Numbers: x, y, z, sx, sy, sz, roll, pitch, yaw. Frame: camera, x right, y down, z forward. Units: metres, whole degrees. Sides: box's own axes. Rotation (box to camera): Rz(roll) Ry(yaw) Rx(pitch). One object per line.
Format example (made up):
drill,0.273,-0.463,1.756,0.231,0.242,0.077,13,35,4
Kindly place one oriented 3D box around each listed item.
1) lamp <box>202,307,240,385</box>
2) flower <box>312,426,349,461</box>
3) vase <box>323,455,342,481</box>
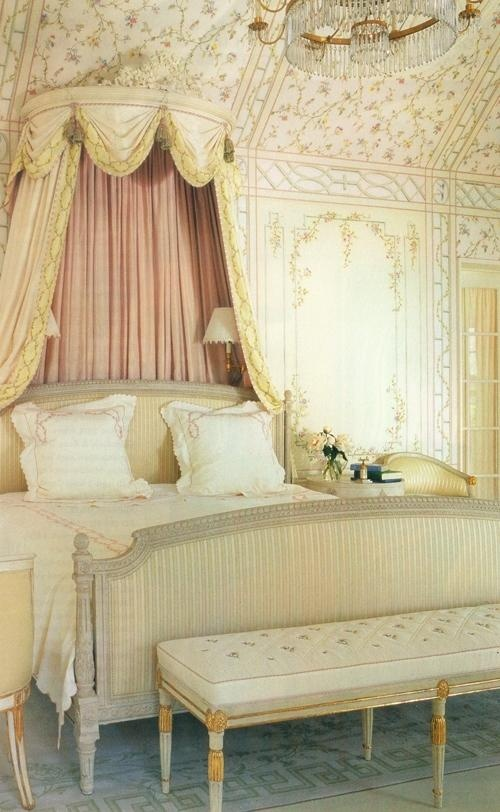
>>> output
lamp,-0.165,-0.356,4.652,0.226,0.426,0.407,0,-5,-1
flower,0.522,0.264,4.993,0.217,0.191,0.221,10,-13,45
vase,0.520,0.404,4.915,0.127,0.152,0.118,0,-1,-9
